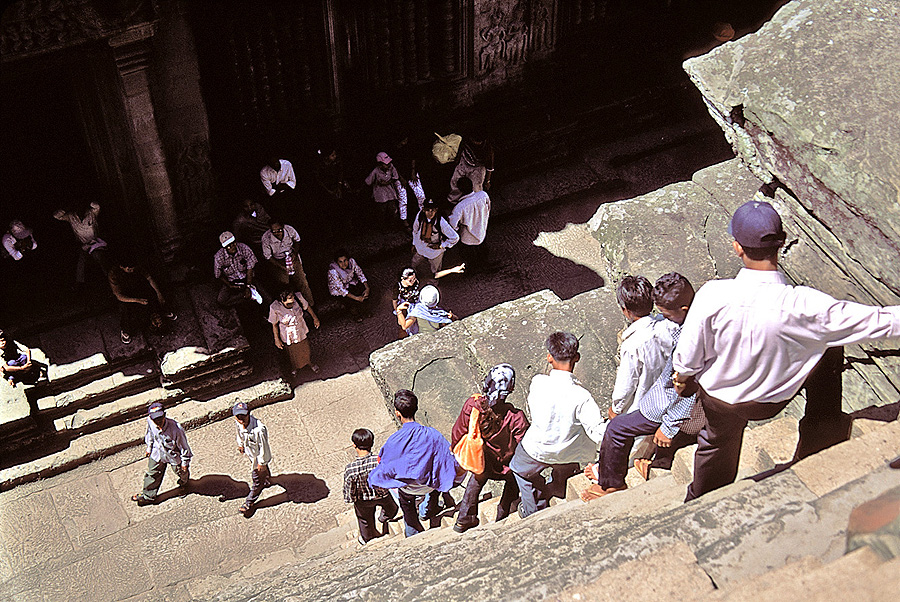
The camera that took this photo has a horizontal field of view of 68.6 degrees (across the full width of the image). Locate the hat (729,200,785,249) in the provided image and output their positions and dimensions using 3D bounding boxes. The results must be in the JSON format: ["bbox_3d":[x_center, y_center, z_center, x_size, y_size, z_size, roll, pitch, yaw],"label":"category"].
[{"bbox_3d":[2.211,-0.555,4.781,0.279,0.399,0.224,-7,-52,4],"label":"hat"}]

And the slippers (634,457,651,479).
[{"bbox_3d":[1.795,1.547,6.098,0.097,0.168,0.055,-25,-24,7],"label":"slippers"}]

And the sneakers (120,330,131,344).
[{"bbox_3d":[-4.542,0.524,9.230,0.079,0.221,0.086,-21,-23,-41],"label":"sneakers"}]

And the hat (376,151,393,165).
[{"bbox_3d":[-0.997,-2.188,10.082,0.253,0.175,0.230,-19,-11,-22],"label":"hat"}]

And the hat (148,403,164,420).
[{"bbox_3d":[-3.524,1.320,7.933,0.168,0.130,0.224,-4,8,-7],"label":"hat"}]

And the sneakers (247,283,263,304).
[{"bbox_3d":[-2.803,-0.092,9.472,0.159,0.272,0.106,-7,-14,-45],"label":"sneakers"}]

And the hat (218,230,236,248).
[{"bbox_3d":[-3.078,-0.862,9.074,0.174,0.269,0.340,-19,-11,-23],"label":"hat"}]

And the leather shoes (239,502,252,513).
[{"bbox_3d":[-2.578,2.624,8.327,0.165,0.093,0.106,-20,-11,-18],"label":"leather shoes"}]
